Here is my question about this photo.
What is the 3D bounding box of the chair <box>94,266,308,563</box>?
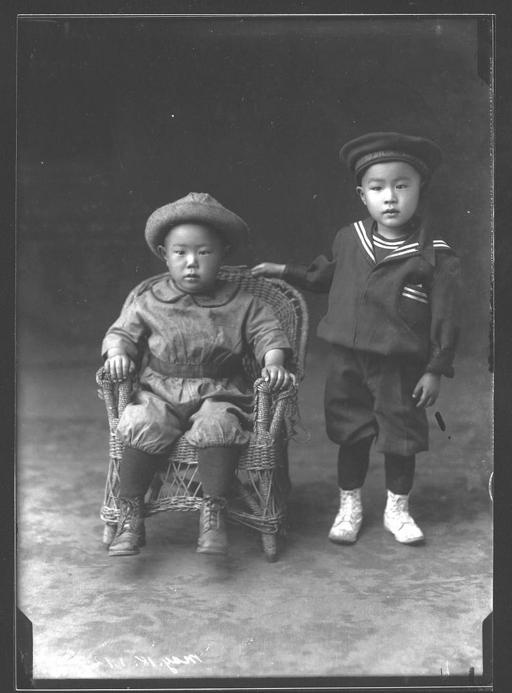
[{"bbox_3d":[-0.162,0.151,3.584,0.731,0.899,0.696,1,16,12],"label":"chair"}]

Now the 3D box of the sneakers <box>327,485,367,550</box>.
[{"bbox_3d":[0.294,0.547,3.404,0.078,0.145,0.211,6,28,14],"label":"sneakers"}]
